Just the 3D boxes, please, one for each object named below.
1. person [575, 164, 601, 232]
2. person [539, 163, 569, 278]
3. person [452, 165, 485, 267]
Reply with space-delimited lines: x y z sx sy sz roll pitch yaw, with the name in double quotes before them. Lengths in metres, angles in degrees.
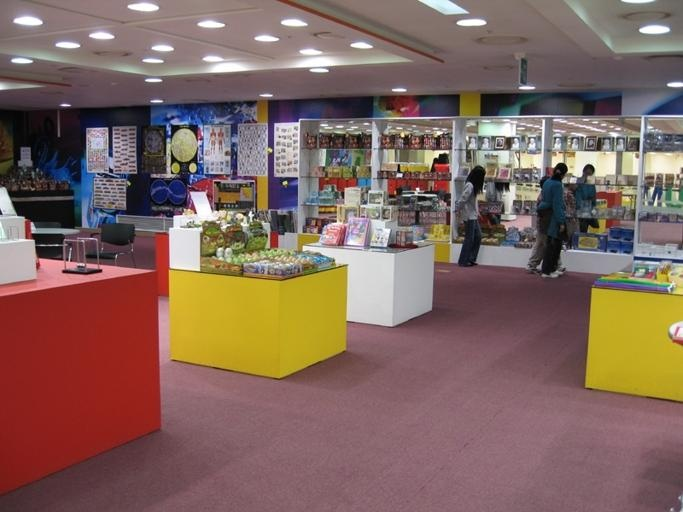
"person" 5.126 -1.216 10.231 0.438 1.410 0.347 5 9 29
"person" 4.054 -0.677 9.419 0.487 2.224 0.704 4 8 24
"person" 2.801 -0.880 10.655 0.393 2.180 0.812 8 10 41
